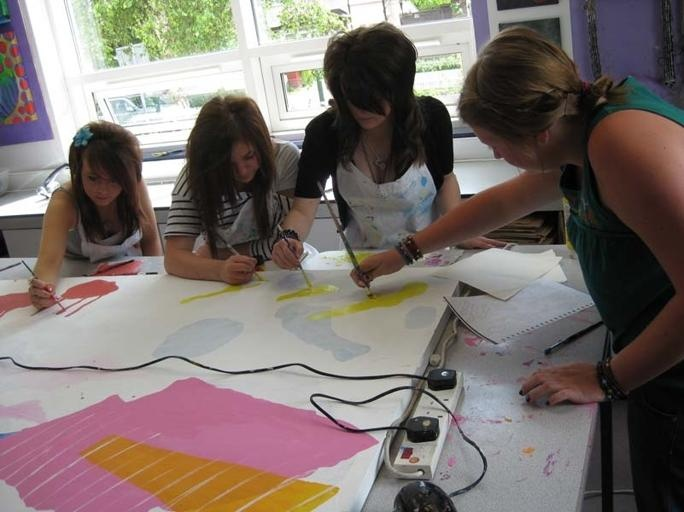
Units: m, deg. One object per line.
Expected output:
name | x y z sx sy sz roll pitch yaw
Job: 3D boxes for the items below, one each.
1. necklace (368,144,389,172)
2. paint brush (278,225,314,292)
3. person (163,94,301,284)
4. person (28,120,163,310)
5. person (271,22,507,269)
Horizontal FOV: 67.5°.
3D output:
necklace | 0.127 -0.337 1.804 0.055 0.080 0.019 -37 -2 12
paint brush | -0.160 -0.013 1.672 0.059 0.019 0.343 -10 39 -6
person | -0.389 -0.201 1.771 0.412 0.778 0.433 1 21 -2
person | -0.980 -0.110 2.072 0.431 0.769 0.404 -10 26 -28
person | 0.117 -0.299 1.931 0.561 1.103 0.495 -6 19 1
